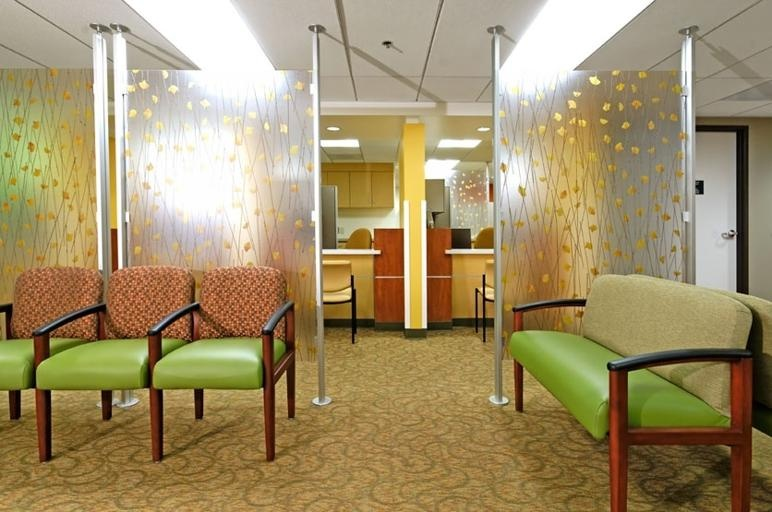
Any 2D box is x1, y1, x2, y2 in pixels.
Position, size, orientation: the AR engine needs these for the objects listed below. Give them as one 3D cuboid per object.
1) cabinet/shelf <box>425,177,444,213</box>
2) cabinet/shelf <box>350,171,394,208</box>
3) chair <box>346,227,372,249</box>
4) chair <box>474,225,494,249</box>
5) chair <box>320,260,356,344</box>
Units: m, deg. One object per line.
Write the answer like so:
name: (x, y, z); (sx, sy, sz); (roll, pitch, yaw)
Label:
cabinet/shelf: (0.720, -0.891, 8.502); (0.377, 0.544, 0.566); (-1, 3, 0)
cabinet/shelf: (-0.290, -1.287, 11.107); (0.869, 0.729, 0.437); (-1, -2, -3)
chair: (-0.398, -0.254, 8.305); (0.288, 0.362, 0.333); (1, 3, 2)
chair: (1.394, -0.256, 7.906); (0.257, 0.371, 0.315); (2, 4, 9)
chair: (-0.577, 0.565, 6.984); (0.397, 1.002, 0.514); (-1, 3, -7)
